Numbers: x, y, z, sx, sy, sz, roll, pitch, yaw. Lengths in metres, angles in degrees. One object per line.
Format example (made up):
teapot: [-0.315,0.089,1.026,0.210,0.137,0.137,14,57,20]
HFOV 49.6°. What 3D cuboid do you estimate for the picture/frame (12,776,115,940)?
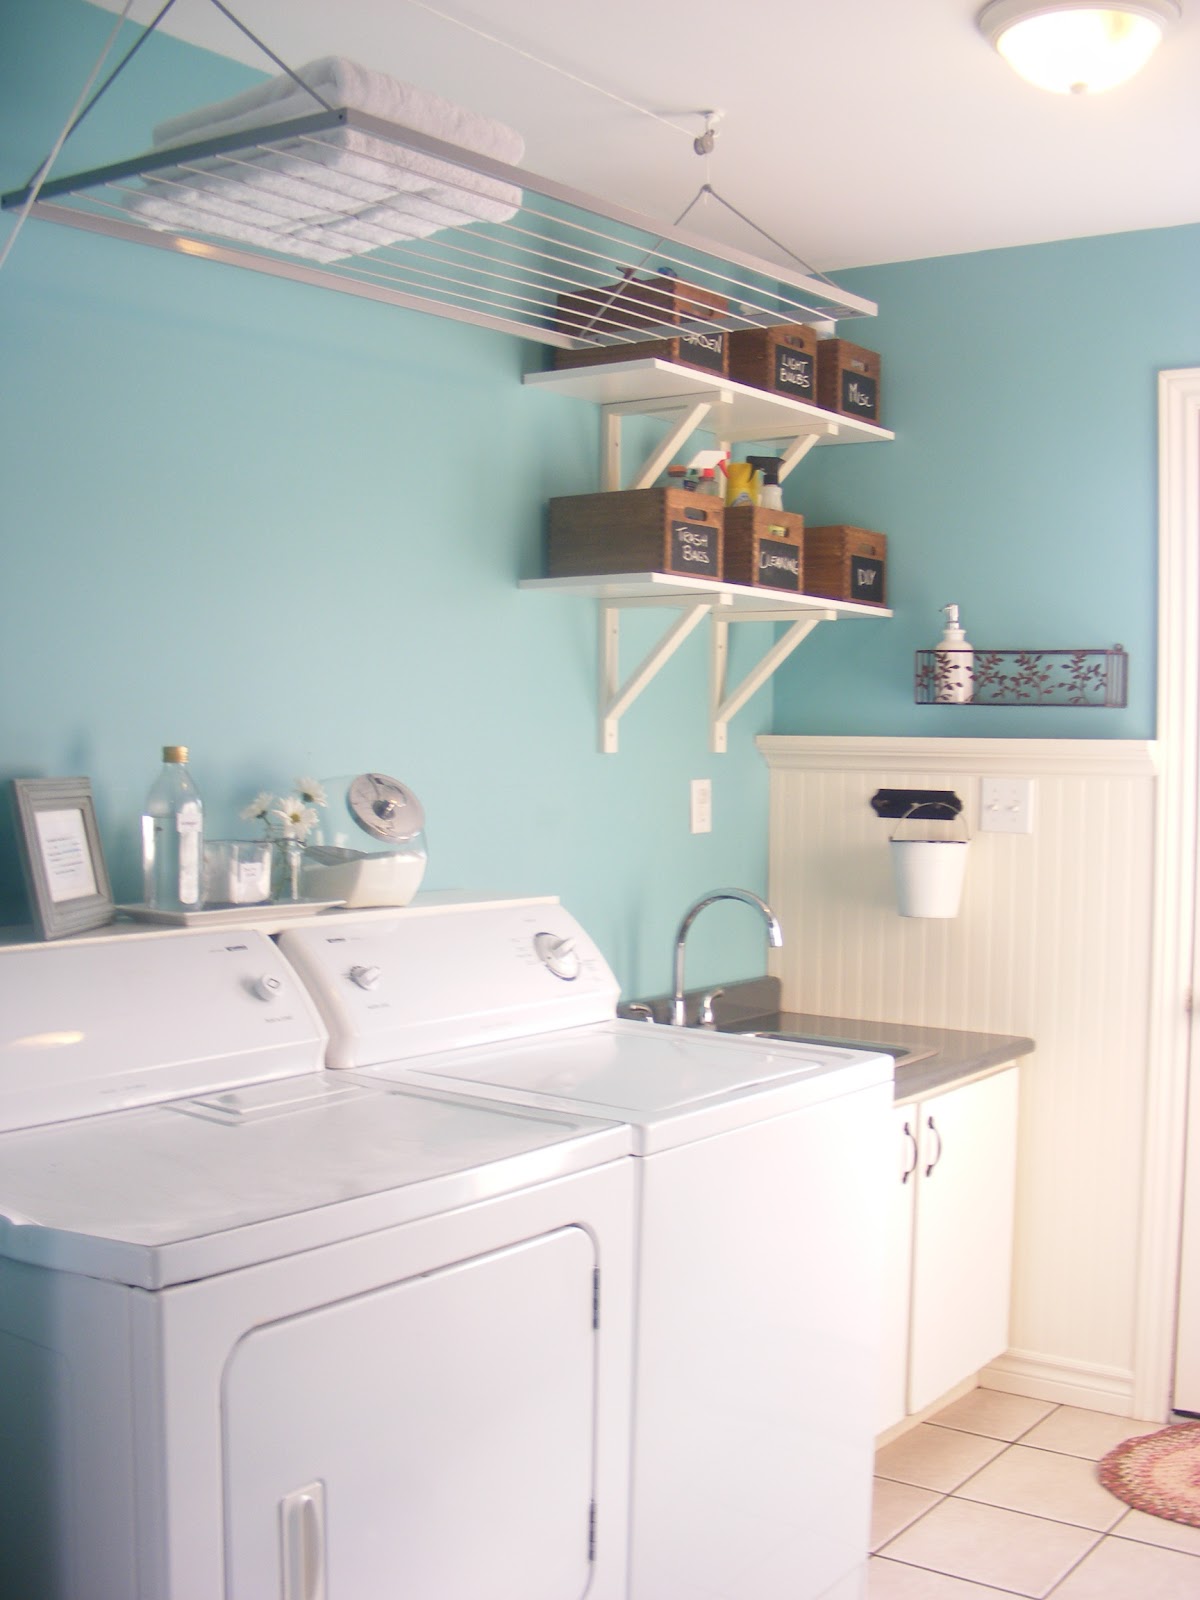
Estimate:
picture/frame: [-0.661,0.077,1.587,0.022,0.215,0.187,-15,-1,17]

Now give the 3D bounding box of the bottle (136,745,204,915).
bottle: [-0.568,0.039,1.749,0.090,0.198,0.177,10,2,-19]

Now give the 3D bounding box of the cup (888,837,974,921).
cup: [0.750,0.181,2.965,0.177,0.158,0.171,0,-3,0]
